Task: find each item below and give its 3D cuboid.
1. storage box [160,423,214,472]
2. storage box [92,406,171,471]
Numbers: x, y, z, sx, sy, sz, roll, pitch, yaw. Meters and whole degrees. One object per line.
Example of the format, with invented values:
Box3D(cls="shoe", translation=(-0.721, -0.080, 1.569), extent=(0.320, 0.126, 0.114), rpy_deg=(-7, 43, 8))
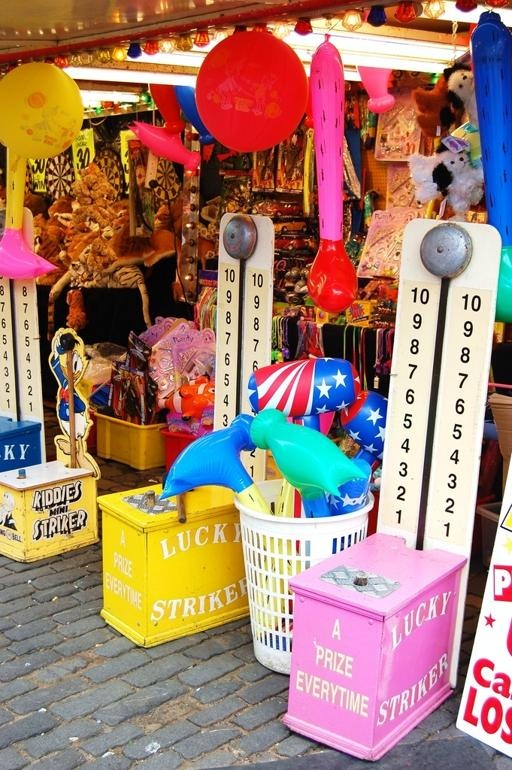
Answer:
Box3D(cls="storage box", translation=(-0.516, 0.442, 4.837), extent=(0.417, 0.257, 0.335), rpy_deg=(6, 6, 42))
Box3D(cls="storage box", translation=(-1.041, 0.471, 5.286), extent=(0.464, 0.299, 0.601), rpy_deg=(-6, 12, -40))
